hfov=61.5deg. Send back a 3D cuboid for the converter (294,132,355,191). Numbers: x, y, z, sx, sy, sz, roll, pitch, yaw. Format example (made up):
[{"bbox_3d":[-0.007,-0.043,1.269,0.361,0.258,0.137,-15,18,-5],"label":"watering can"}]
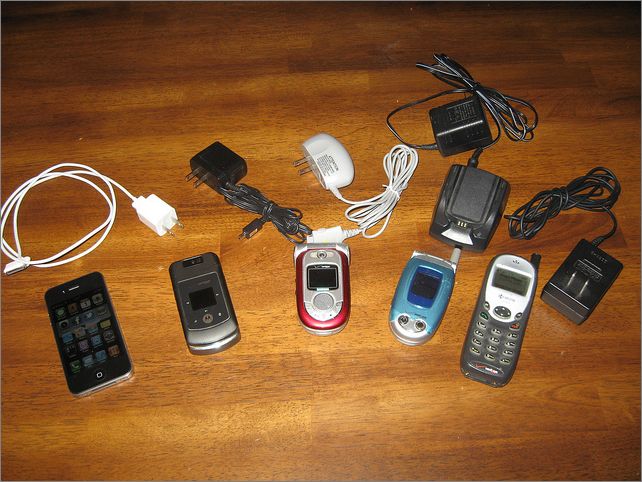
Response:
[{"bbox_3d":[0.014,-0.157,1.060,0.137,0.040,0.106,-22,69,23],"label":"converter"}]

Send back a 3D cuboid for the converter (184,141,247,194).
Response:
[{"bbox_3d":[-0.196,-0.142,1.057,0.102,0.079,0.089,25,43,33],"label":"converter"}]

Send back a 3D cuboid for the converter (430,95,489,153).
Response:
[{"bbox_3d":[0.282,-0.233,1.090,0.112,0.107,0.093,-5,37,-3],"label":"converter"}]

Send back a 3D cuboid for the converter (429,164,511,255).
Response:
[{"bbox_3d":[0.279,-0.063,1.016,0.113,0.133,0.125,10,38,16],"label":"converter"}]

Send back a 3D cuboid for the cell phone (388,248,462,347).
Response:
[{"bbox_3d":[0.183,0.097,0.956,0.106,0.044,0.171,23,71,18],"label":"cell phone"}]

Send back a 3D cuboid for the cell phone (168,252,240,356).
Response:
[{"bbox_3d":[-0.205,0.109,0.961,0.127,0.051,0.170,-19,68,-12],"label":"cell phone"}]

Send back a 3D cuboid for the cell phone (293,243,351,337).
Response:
[{"bbox_3d":[0.001,0.081,0.932,0.135,0.044,0.140,1,66,-1],"label":"cell phone"}]
